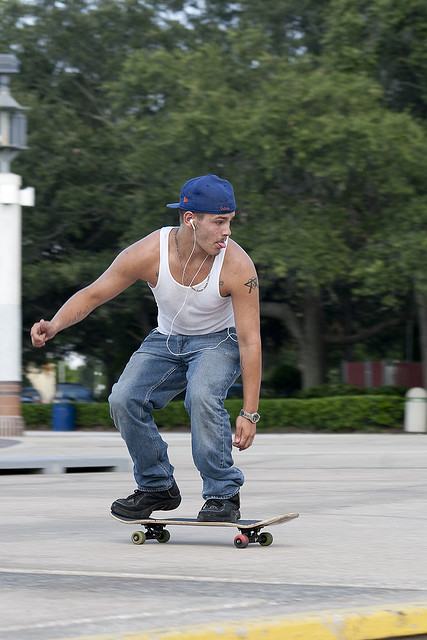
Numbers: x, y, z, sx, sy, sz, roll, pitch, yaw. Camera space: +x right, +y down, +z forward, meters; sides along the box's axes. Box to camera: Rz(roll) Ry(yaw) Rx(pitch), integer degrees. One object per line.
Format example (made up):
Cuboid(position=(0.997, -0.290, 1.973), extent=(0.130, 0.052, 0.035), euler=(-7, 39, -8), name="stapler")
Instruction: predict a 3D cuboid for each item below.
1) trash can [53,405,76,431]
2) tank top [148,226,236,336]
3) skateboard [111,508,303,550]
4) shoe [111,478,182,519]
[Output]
Cuboid(position=(-2.840, 1.878, 19.969), extent=(0.503, 0.487, 0.491), euler=(-4, 6, -41), name="trash can")
Cuboid(position=(-0.107, -0.147, 4.623), extent=(0.344, 0.498, 0.249), euler=(-4, 1, -40), name="tank top")
Cuboid(position=(-0.043, 0.961, 4.726), extent=(1.021, 0.159, 0.246), euler=(-2, -3, 21), name="skateboard")
Cuboid(position=(-0.307, 0.832, 4.781), extent=(0.319, 0.151, 0.155), euler=(0, -2, -10), name="shoe")
